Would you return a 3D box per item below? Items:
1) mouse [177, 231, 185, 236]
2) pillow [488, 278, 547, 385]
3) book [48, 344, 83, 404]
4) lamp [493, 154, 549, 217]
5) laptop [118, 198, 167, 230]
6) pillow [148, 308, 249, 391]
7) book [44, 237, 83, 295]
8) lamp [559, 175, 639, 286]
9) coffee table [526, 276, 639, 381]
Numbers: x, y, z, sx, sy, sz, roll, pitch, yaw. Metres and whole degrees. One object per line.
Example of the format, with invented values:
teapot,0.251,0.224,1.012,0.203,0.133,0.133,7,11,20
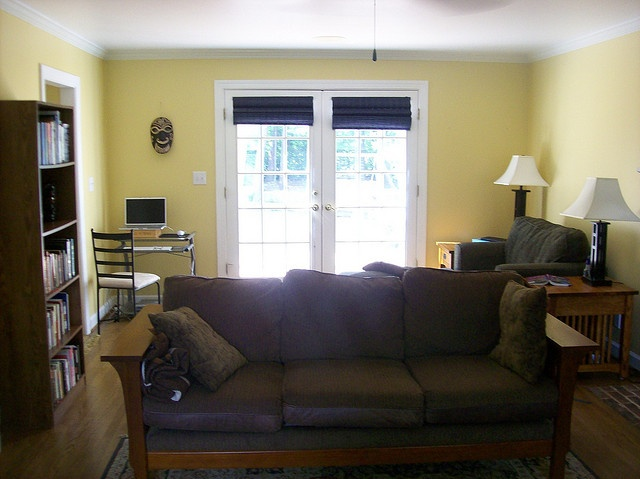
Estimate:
mouse,-1.564,-0.076,5.968,0.075,0.039,0.253,-2,8,-14
pillow,1.277,0.629,3.471,0.247,0.661,0.540,4,4,-19
book,-1.971,1.039,4.095,0.180,0.207,0.482,-10,10,0
lamp,2.219,-0.587,5.870,0.516,0.694,0.674,2,8,21
laptop,-1.950,-0.288,5.908,0.553,0.371,0.309,0,5,-6
pillow,-0.778,0.671,3.458,0.492,0.463,0.397,1,8,12
book,-2.012,0.204,4.142,0.173,0.157,0.447,0,10,-8
lamp,2.333,-0.064,4.481,0.444,0.898,0.411,-2,8,-6
coffee table,2.345,0.770,4.807,0.914,0.890,0.900,-1,7,5
